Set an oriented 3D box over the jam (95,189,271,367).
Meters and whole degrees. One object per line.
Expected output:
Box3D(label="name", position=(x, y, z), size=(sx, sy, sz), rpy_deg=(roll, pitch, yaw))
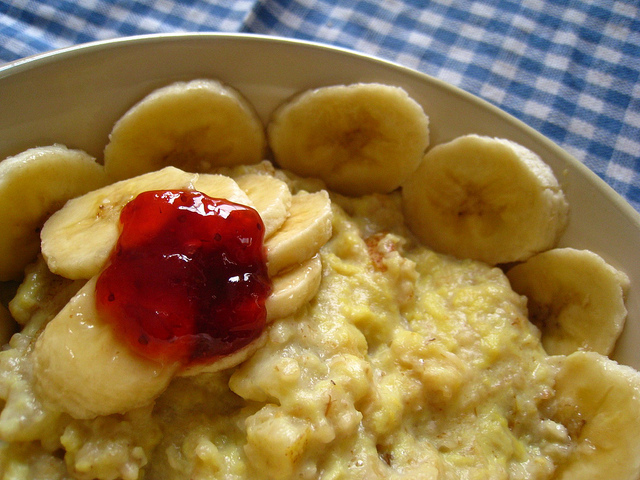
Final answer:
Box3D(label="jam", position=(-0.620, 0.030, 3.312), size=(0.642, 1.038, 0.822), rpy_deg=(2, 100, 27))
